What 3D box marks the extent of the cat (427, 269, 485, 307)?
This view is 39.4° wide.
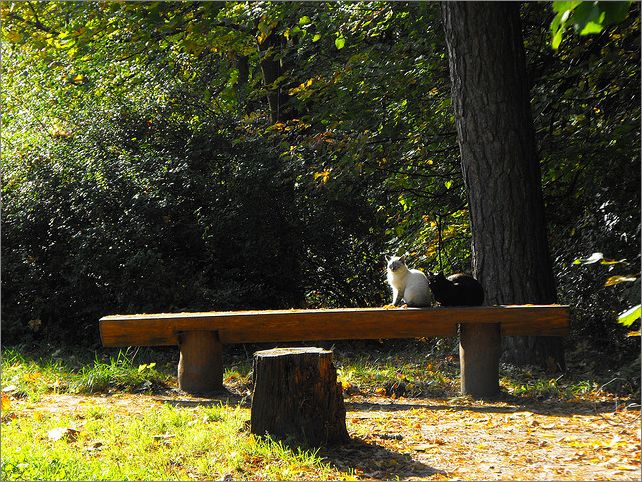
[{"bbox_3d":[2.023,0.725,13.581,0.723,0.447,0.464,3,-17,10],"label":"cat"}]

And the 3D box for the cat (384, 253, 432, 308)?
[{"bbox_3d":[1.360,0.626,14.121,0.630,0.827,0.487,0,1,-26],"label":"cat"}]
